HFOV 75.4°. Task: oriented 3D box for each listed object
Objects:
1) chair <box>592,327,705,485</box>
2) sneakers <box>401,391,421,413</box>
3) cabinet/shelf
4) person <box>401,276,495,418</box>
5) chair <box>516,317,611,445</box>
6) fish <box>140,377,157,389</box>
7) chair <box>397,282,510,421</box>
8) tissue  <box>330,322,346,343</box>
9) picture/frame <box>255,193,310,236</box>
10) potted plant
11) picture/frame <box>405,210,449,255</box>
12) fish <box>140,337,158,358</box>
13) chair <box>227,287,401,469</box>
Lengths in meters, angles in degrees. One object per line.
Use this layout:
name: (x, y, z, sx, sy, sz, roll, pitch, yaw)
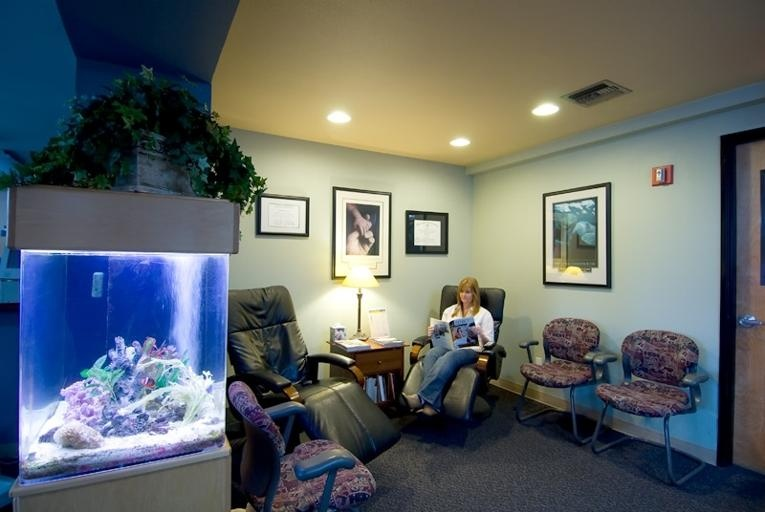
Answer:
chair: (2.158, 1.113, 3.954, 0.793, 0.966, 0.748, 6, 10, 34)
sneakers: (0.248, 1.237, 4.301, 0.131, 0.147, 0.199, -4, 9, -29)
cabinet/shelf: (-0.092, 1.108, 4.838, 0.525, 0.589, 0.430, -3, 7, -20)
person: (0.618, 0.766, 4.635, 0.791, 1.373, 1.318, -2, -13, 28)
chair: (1.625, 1.087, 4.505, 0.688, 0.980, 0.733, 0, 3, -21)
fish: (-1.083, 0.578, 2.284, 0.057, 0.053, 0.014, 0, 8, -4)
chair: (0.706, 0.895, 4.704, 0.852, 1.146, 1.239, 3, 3, 23)
tissue : (-0.428, 0.730, 4.757, 0.138, 0.254, 0.142, 0, -1, -4)
picture/frame: (-0.964, -0.393, 4.623, 0.395, 0.323, 0.027, -2, 2, -36)
potted plant: (-1.265, -0.316, 2.471, 0.825, 0.495, 0.872, -2, -4, 36)
picture/frame: (0.468, -0.273, 5.480, 0.472, 0.409, 0.037, -1, 2, -32)
fish: (-1.091, 0.419, 2.298, 0.044, 0.094, 0.022, 12, 2, -22)
chair: (-0.579, 0.904, 3.830, 1.455, 1.041, 0.859, 8, 7, 39)
